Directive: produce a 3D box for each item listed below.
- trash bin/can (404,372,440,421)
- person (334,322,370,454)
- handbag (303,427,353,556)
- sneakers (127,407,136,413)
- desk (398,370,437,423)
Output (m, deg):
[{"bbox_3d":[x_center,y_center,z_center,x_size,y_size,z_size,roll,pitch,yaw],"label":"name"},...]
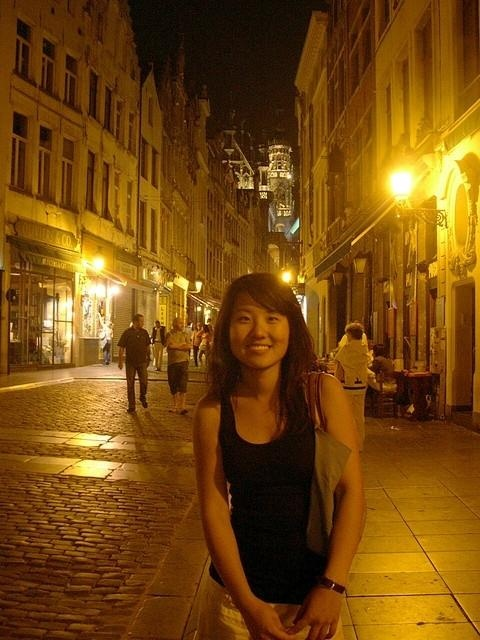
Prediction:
[{"bbox_3d":[4.138,1.698,11.848,0.713,1.437,0.858,0,3,12],"label":"trash bin/can"},{"bbox_3d":[1.792,1.031,8.330,0.469,2.035,0.528,-3,15,-4],"label":"person"},{"bbox_3d":[0.209,0.406,1.226,0.084,0.282,0.098,-1,-2,26],"label":"handbag"},{"bbox_3d":[-2.439,2.020,11.663,0.095,0.094,0.110,1,1,8],"label":"sneakers"},{"bbox_3d":[4.065,1.852,12.424,0.484,1.100,1.566,-6,-3,-5],"label":"desk"}]
